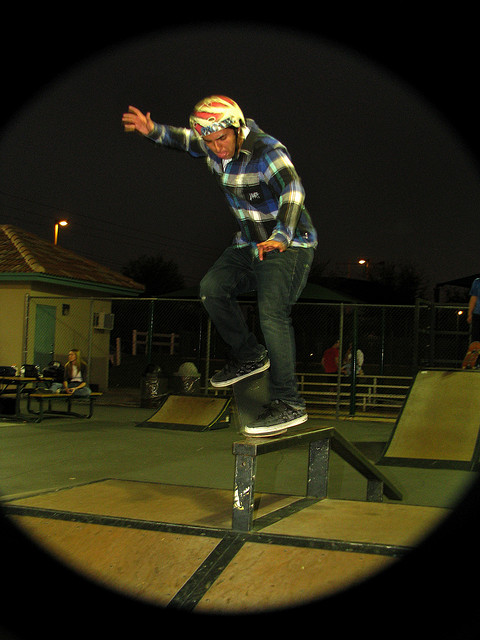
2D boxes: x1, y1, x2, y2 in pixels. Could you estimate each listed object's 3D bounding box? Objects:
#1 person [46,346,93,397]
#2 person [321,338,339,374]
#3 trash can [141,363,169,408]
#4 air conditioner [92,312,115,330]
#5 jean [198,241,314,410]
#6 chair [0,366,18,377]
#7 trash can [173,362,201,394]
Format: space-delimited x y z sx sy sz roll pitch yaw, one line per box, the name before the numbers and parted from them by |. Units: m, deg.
person | -4.228 1.250 13.129 1.193 1.214 1.006 -9 -20 27
person | 2.394 0.970 14.186 0.364 0.894 1.112 1 -7 7
trash can | -2.287 1.737 13.742 0.811 1.165 0.736 3 -14 -37
air conditioner | -4.351 -0.022 17.091 0.603 0.560 1.258 4 -7 -14
jean | 0.062 0.019 2.901 0.518 0.906 0.477 -3 -9 30
chair | -4.368 0.964 10.117 0.277 0.099 0.192 0 -1 11
trash can | -1.310 1.451 13.577 0.494 0.732 1.245 2 -7 2
